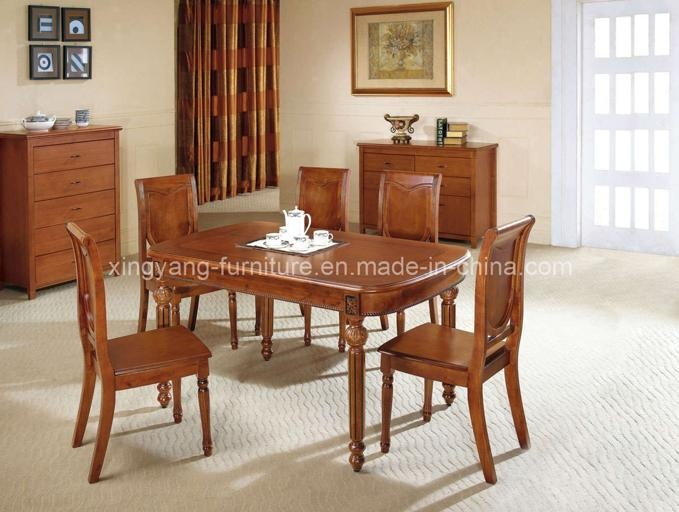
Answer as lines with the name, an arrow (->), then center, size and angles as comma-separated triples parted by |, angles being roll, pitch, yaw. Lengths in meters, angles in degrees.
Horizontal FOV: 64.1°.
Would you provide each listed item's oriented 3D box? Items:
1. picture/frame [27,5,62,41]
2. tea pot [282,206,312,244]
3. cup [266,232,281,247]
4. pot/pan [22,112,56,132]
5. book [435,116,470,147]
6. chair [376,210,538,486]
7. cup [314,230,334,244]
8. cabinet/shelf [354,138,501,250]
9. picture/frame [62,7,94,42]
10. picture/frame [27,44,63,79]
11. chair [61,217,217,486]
picture/frame -> -2.600, -2.049, 4.763 | 0.027, 0.353, 0.355 | 8, 11, 38
tea pot -> -0.242, -0.163, 2.970 | 0.143, 0.169, 0.100 | -4, -28, 12
cup -> -0.365, -0.086, 2.943 | 0.086, 0.042, 0.062 | 2, 7, 23
pot/pan -> -2.576, -1.118, 4.611 | 0.212, 0.128, 0.252 | 4, 6, 41
book -> 1.267, -1.392, 6.107 | 0.327, 0.256, 0.349 | 3, 11, 26
chair -> 0.538, 0.371, 2.499 | 0.602, 1.036, 0.522 | 4, 9, 32
cup -> -0.086, -0.104, 3.002 | 0.092, 0.065, 0.070 | 3, 5, 14
cabinet/shelf -> 0.969, -0.789, 6.295 | 1.457, 1.088, 0.531 | 9, 26, 28
picture/frame -> -2.405, -2.118, 4.963 | 0.035, 0.351, 0.350 | 7, 11, 35
picture/frame -> -2.616, -1.724, 4.797 | 0.024, 0.338, 0.339 | 8, 10, 37
chair -> -0.915, 0.425, 2.467 | 0.557, 0.934, 0.466 | -4, 5, -38
